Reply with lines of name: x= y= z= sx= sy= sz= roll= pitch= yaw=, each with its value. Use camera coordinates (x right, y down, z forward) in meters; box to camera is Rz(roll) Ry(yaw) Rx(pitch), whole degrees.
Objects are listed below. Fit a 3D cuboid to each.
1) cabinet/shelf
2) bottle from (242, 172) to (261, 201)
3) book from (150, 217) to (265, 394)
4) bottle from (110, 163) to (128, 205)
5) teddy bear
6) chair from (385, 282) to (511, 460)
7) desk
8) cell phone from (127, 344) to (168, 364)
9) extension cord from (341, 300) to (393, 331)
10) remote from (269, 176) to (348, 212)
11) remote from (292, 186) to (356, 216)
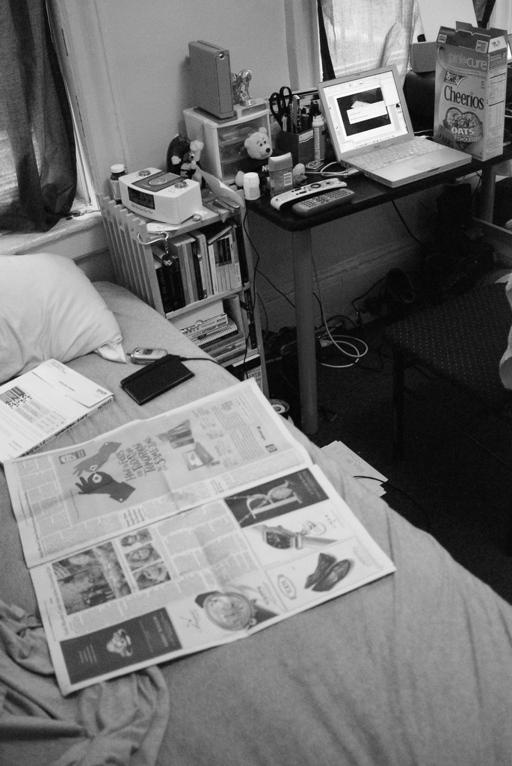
cabinet/shelf: x=-0.226 y=-0.254 z=1.738 sx=0.280 sy=0.559 sz=0.283 roll=31 pitch=63 yaw=35
bottle: x=-0.012 y=-0.577 z=1.798 sx=0.060 sy=0.076 sz=0.074 roll=-4 pitch=48 yaw=-4
book: x=-0.154 y=-0.233 z=1.789 sx=0.204 sy=0.598 sz=0.323 roll=-28 pitch=38 yaw=-28
bottle: x=-0.420 y=-0.612 z=1.870 sx=0.061 sy=0.105 sz=0.126 roll=-12 pitch=26 yaw=-9
teddy bear: x=0.030 y=-0.684 z=1.900 sx=0.210 sy=0.203 sz=0.106 roll=-26 pitch=23 yaw=-26
chair: x=0.594 y=-0.017 z=1.758 sx=0.316 sy=0.321 sz=0.388 roll=-31 pitch=48 yaw=-17
desk: x=0.386 y=-0.299 z=2.081 sx=0.361 sy=0.478 sz=0.962 roll=35 pitch=61 yaw=30
cell phone: x=-0.279 y=-0.075 z=1.569 sx=0.076 sy=0.022 sz=0.049 roll=-1 pitch=35 yaw=16
extension cord: x=0.472 y=-0.282 z=2.572 sx=0.186 sy=0.183 sz=0.046 roll=-2 pitch=6 yaw=-4
remote: x=0.169 y=-0.557 z=1.807 sx=0.285 sy=0.048 sz=0.094 roll=-27 pitch=46 yaw=-21
remote: x=0.186 y=-0.519 z=1.717 sx=0.182 sy=0.038 sz=0.084 roll=-27 pitch=54 yaw=-22
